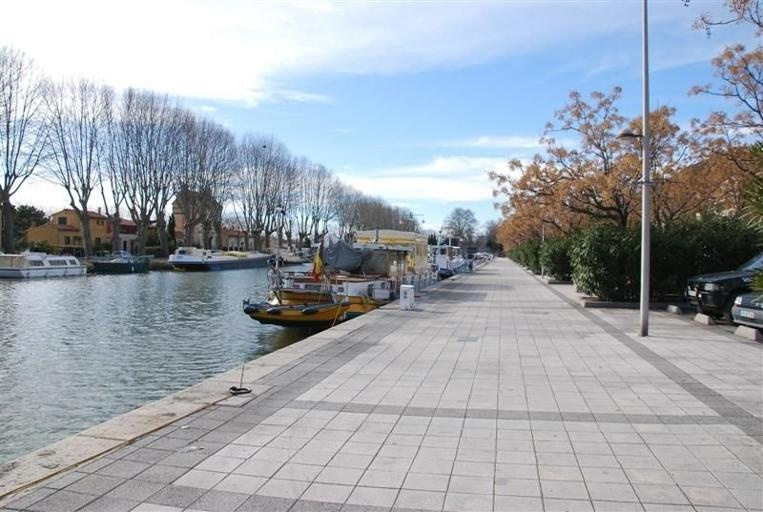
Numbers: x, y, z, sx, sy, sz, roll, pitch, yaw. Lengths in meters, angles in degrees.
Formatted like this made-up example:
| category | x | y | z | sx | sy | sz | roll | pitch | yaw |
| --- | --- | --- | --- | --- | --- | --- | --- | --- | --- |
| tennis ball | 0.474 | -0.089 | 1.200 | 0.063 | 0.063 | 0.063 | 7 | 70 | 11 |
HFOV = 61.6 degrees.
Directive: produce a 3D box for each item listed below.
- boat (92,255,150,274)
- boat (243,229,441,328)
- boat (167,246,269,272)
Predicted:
| category | x | y | z | sx | sy | sz | roll | pitch | yaw |
| --- | --- | --- | --- | --- | --- | --- | --- | --- | --- |
| boat | -21.783 | 0.829 | 55.301 | 2.338 | 1.023 | 3.037 | 3 | 6 | 20 |
| boat | -1.250 | 1.167 | 26.909 | 3.596 | 3.039 | 10.825 | 4 | 5 | 28 |
| boat | -17.547 | 0.389 | 68.274 | 3.167 | 1.428 | 10.734 | 4 | 3 | 26 |
